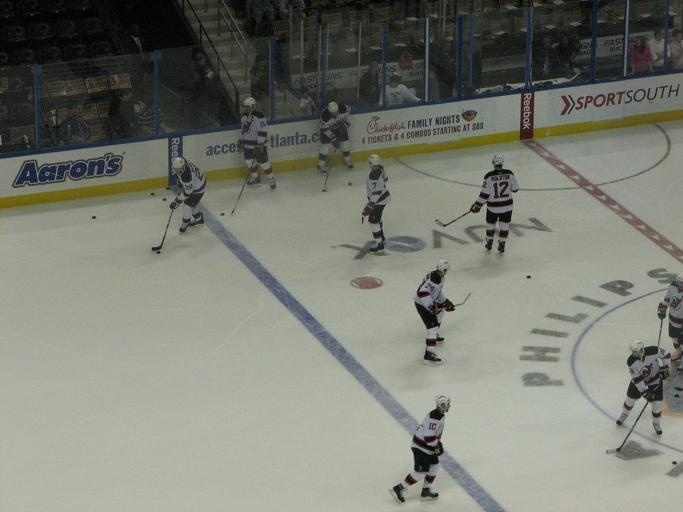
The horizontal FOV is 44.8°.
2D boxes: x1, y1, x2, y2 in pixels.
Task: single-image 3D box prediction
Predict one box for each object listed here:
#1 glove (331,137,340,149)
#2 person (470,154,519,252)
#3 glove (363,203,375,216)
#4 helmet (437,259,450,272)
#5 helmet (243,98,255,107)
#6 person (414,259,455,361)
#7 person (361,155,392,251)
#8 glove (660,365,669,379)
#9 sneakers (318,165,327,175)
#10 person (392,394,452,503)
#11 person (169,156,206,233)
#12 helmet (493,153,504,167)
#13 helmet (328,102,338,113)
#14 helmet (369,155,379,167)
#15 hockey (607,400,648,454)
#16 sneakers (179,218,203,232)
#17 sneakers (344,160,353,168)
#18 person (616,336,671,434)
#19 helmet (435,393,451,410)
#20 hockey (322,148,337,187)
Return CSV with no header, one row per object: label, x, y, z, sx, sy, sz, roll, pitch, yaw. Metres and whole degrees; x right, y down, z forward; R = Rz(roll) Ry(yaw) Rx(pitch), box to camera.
glove,-0.151,-2.636,19.178,0.163,0.228,0.089,-1,10,-4
person,3.027,-0.984,16.294,0.811,1.935,0.367,-1,21,11
glove,0.525,-0.909,16.220,0.213,0.216,0.078,15,3,39
helmet,1.659,0.172,13.692,0.192,0.186,0.158,-16,40,-1
helmet,-2.051,-3.387,18.304,0.240,0.196,0.410,-7,20,-4
person,1.583,1.005,14.152,0.733,1.593,0.955,0,35,6
person,0.675,-1.076,16.398,0.537,1.970,0.556,-4,20,3
glove,4.727,1.707,12.146,0.136,0.177,0.189,2,2,20
sneakers,-0.465,-2.049,19.559,0.132,0.173,0.252,-5,11,-25
person,1.114,2.748,11.536,0.786,1.599,0.583,9,36,10
person,-3.146,-1.314,17.000,0.731,1.610,1.267,-8,20,-8
helmet,3.053,-1.856,16.259,0.174,0.281,0.427,0,21,14
helmet,-0.206,-3.387,18.856,0.228,0.259,0.458,-5,20,0
helmet,0.619,-1.847,15.956,0.178,0.215,0.252,-7,20,-5
hockey,4.232,2.578,12.300,1.249,0.063,0.218,-33,61,-29
sneakers,-3.134,-0.676,17.236,0.198,0.244,0.601,21,29,37
sneakers,0.166,-2.223,19.812,0.202,0.225,0.277,-5,20,1
person,4.422,1.888,12.040,0.697,1.600,0.396,-8,20,-6
helmet,1.307,1.943,10.969,0.232,0.210,0.188,-10,0,41
hockey,-0.305,-2.083,19.460,0.158,0.065,1.133,-4,50,32
